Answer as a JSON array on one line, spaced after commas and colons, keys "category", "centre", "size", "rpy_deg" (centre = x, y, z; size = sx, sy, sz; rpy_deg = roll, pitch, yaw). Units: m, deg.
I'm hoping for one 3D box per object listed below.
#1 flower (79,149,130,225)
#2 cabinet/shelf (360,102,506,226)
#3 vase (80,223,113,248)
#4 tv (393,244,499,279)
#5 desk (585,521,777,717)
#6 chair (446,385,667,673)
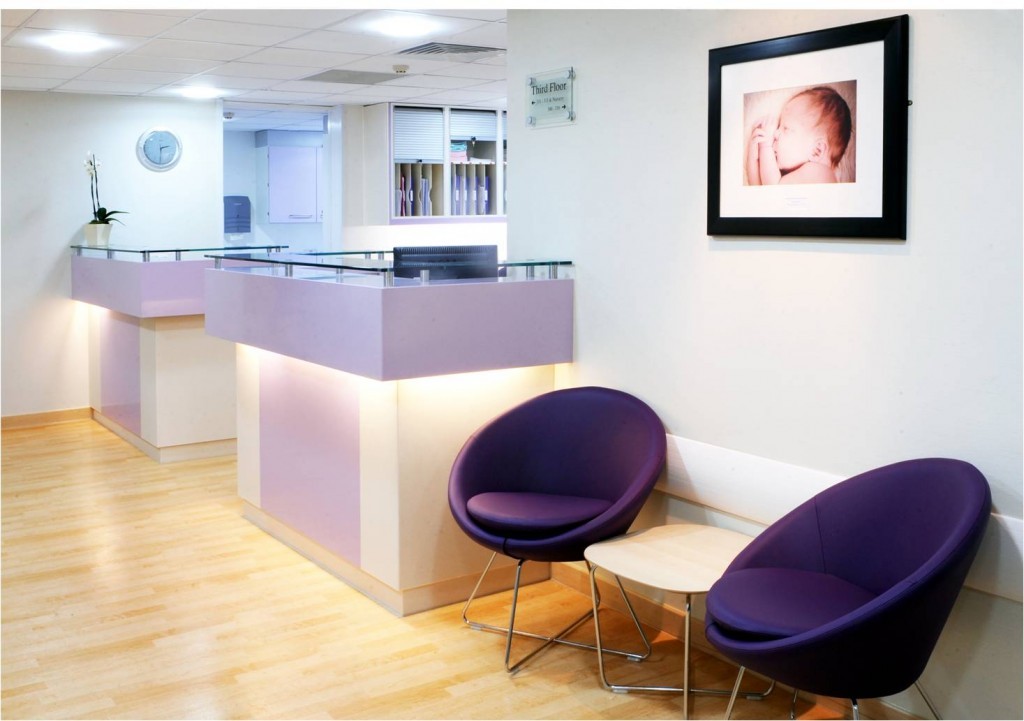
[{"category": "flower", "centre": [-4.154, -1.748, 7.589], "size": [0.330, 0.707, 0.390], "rpy_deg": [-6, 13, -28]}, {"category": "cabinet/shelf", "centre": [-0.776, -2.182, 8.620], "size": [1.355, 1.284, 0.452], "rpy_deg": [-1, 3, -5]}, {"category": "vase", "centre": [-4.203, -1.251, 7.548], "size": [0.272, 0.205, 0.275], "rpy_deg": [0, 1, 15]}, {"category": "tv", "centre": [-0.374, -0.552, 4.204], "size": [0.617, 0.175, 0.361], "rpy_deg": [-1, 11, -12]}, {"category": "desk", "centre": [0.753, 1.143, 3.576], "size": [0.794, 0.739, 0.779], "rpy_deg": [-3, 6, -32]}, {"category": "chair", "centre": [0.205, 0.854, 3.949], "size": [1.166, 1.276, 1.113], "rpy_deg": [1, 3, 43]}]
